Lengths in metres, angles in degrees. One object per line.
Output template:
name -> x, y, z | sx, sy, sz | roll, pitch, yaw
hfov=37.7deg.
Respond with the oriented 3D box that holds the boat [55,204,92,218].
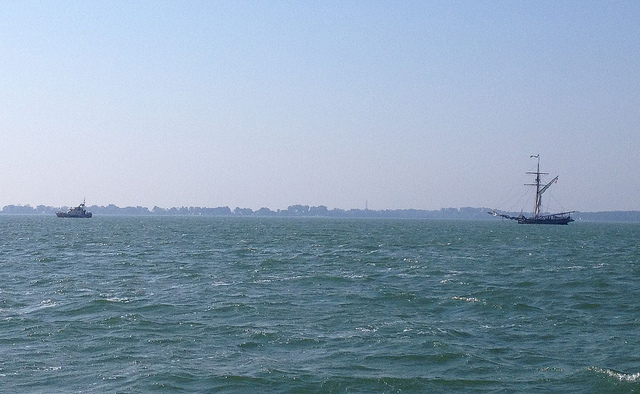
boat -> -76.222, 4.030, 293.741 | 8.210, 3.564, 5.400 | 1, 0, -21
